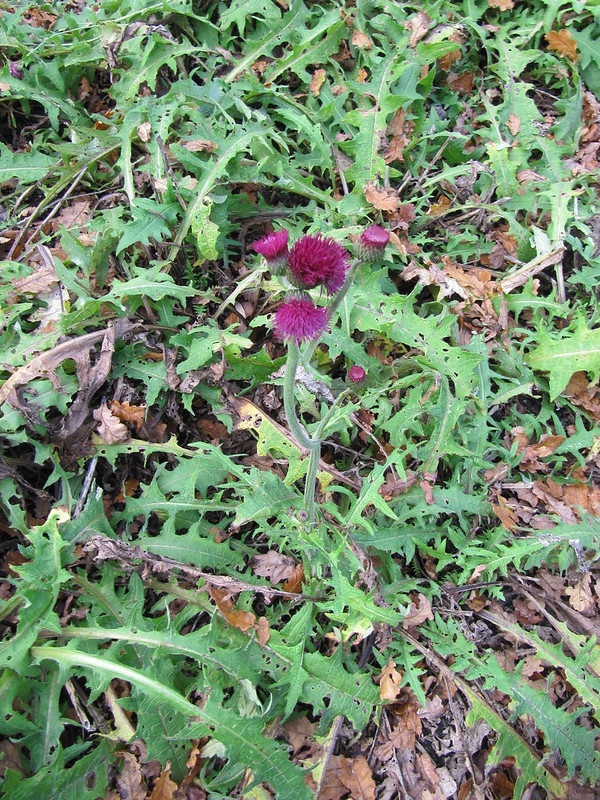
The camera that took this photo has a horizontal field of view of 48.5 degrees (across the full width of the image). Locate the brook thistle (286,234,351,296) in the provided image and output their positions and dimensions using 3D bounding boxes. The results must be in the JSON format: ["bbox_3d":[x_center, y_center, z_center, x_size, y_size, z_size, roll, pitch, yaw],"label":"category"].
[{"bbox_3d":[0.042,-0.391,1.976,0.174,0.166,0.158,-1,71,-30],"label":"brook thistle"}]

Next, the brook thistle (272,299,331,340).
[{"bbox_3d":[0.006,-0.225,1.953,0.141,0.135,0.123,8,91,9],"label":"brook thistle"}]

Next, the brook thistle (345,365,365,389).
[{"bbox_3d":[0.223,-0.109,2.769,0.089,0.086,0.082,-4,45,-2],"label":"brook thistle"}]
